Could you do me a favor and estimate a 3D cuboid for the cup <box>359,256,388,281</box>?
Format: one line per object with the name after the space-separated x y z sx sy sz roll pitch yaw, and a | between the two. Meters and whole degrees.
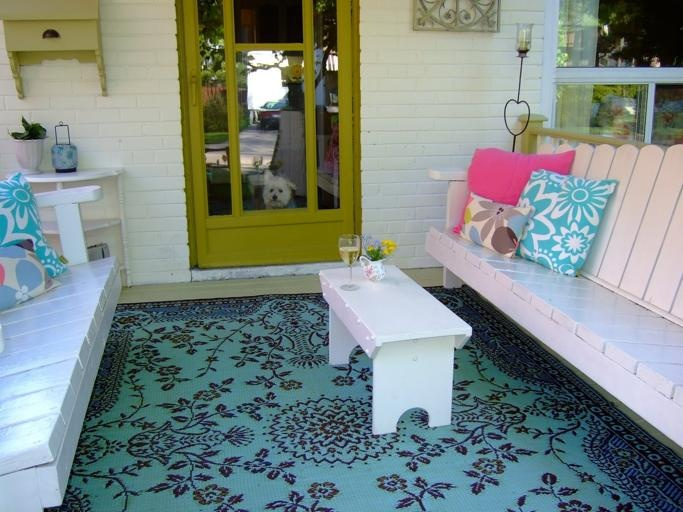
0.170 0.063 2.486 0.153 0.111 0.121 14 24 39 | cup

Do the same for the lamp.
1.467 -1.374 3.945 0.226 1.002 0.461 5 21 19 | lamp

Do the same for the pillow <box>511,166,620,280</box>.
1.346 -0.168 2.695 0.181 0.513 0.577 16 12 -28 | pillow

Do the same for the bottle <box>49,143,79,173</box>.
-1.935 -0.689 3.372 0.214 0.207 0.201 3 12 -4 | bottle

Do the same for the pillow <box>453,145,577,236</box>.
1.075 -0.533 3.173 0.371 0.707 0.953 -18 20 -40 | pillow

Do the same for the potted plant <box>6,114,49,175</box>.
-2.177 -0.775 3.368 0.203 0.371 0.105 -12 22 -27 | potted plant

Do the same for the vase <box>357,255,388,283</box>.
0.166 0.068 2.477 0.126 0.114 0.155 -16 21 -34 | vase

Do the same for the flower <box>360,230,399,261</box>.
0.168 -0.042 2.496 0.202 0.101 0.214 7 7 43 | flower

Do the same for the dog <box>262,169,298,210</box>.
-0.534 -0.544 4.050 0.296 0.323 0.375 2 5 -15 | dog

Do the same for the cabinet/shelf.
-1.862 -0.483 3.359 0.601 0.396 0.566 2 21 2 | cabinet/shelf
